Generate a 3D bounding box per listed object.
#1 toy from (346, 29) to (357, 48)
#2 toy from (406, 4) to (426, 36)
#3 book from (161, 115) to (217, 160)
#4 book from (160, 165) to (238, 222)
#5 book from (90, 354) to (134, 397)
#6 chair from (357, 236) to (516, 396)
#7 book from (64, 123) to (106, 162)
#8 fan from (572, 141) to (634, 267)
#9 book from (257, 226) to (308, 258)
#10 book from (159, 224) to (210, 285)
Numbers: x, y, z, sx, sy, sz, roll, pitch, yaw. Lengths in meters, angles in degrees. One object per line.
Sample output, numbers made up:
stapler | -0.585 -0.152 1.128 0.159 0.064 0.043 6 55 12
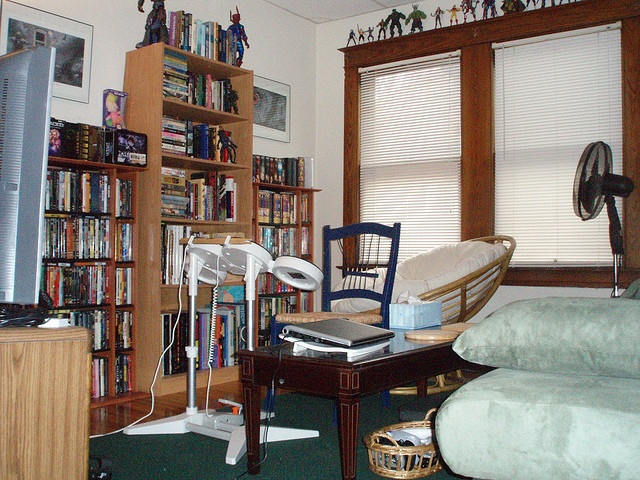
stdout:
toy | 0.291 -1.881 5.523 0.048 0.152 0.126 -1 2 -35
toy | 0.829 -1.903 5.128 0.178 0.254 0.066 2 2 39
book | -0.936 -0.701 4.231 0.420 0.261 0.444 6 10 -30
book | -0.873 -0.323 4.224 0.145 0.230 0.383 -5 -10 38
book | -1.314 0.848 3.735 0.217 0.295 0.300 -4 -8 28
chair | 0.861 0.504 4.225 0.959 0.883 1.043 2 -9 -10
book | -1.458 -0.595 3.656 0.080 0.225 0.236 -1 -7 30
fan | 1.832 -0.264 3.871 0.505 0.728 0.201 -1 2 -39
book | -0.311 0.007 4.693 0.250 0.243 0.083 -5 7 -42
book | -0.831 0.095 3.567 0.388 0.398 0.222 0 -2 18
